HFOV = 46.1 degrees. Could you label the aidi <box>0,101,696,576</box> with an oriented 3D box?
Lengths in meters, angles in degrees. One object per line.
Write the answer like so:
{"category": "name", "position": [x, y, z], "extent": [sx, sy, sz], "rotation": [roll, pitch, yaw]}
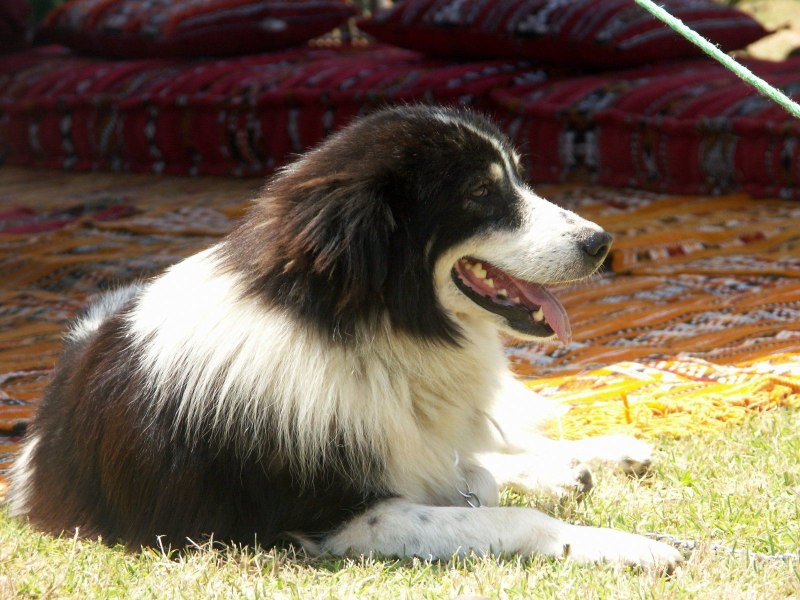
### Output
{"category": "aidi", "position": [-0.230, 0.067, 3.621], "extent": [2.388, 1.679, 0.851], "rotation": [1, 7, 6]}
